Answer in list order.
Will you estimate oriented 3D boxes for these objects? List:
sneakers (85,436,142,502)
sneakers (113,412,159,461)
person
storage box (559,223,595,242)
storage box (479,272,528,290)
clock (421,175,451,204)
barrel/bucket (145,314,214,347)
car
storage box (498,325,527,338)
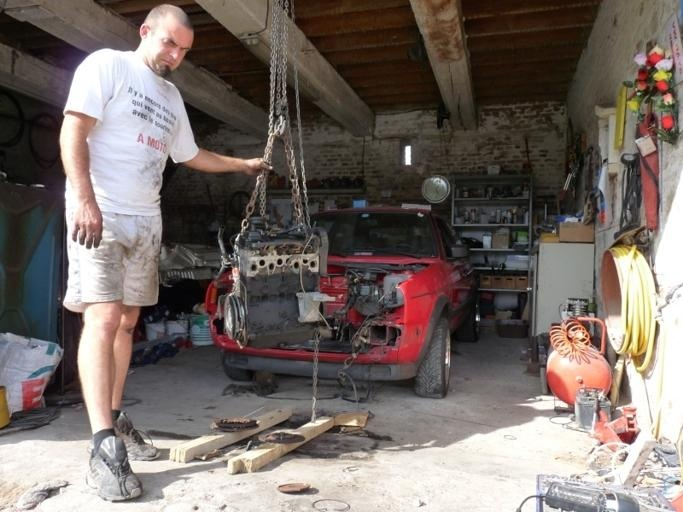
[{"bbox_3d":[-1.334,1.259,3.343,0.207,0.213,0.444,2,-2,-39],"label":"sneakers"},{"bbox_3d":[-1.405,1.203,3.842,0.431,0.196,0.184,17,10,31],"label":"sneakers"},{"bbox_3d":[-1.290,-0.108,3.646,0.923,2.499,0.713,-1,0,-39],"label":"person"},{"bbox_3d":[2.793,-0.271,6.766,0.275,0.159,0.274,2,2,24],"label":"storage box"},{"bbox_3d":[2.808,0.468,9.873,0.797,0.283,0.100,-1,0,22],"label":"storage box"},{"bbox_3d":[1.741,-1.247,10.474,0.468,0.497,0.206,-1,0,2],"label":"clock"},{"bbox_3d":[-2.187,1.018,7.709,0.824,0.319,0.587,-3,1,-3],"label":"barrel/bucket"},{"bbox_3d":[0.561,0.316,6.262,1.762,1.170,2.866,-1,-1,21],"label":"car"},{"bbox_3d":[2.601,1.151,8.586,0.350,0.118,0.221,1,5,9],"label":"storage box"}]
